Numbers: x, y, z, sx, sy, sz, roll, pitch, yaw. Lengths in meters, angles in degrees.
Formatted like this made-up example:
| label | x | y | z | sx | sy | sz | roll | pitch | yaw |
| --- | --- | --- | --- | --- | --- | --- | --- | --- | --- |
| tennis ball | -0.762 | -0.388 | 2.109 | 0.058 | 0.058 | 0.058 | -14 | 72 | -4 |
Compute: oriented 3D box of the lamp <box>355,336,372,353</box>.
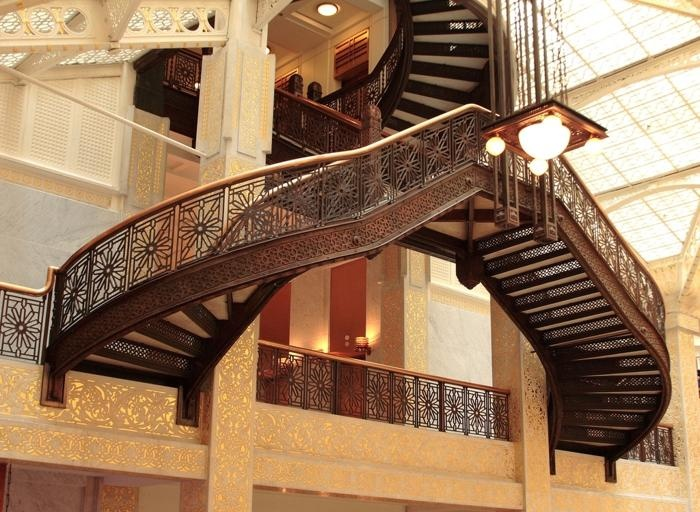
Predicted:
| label | x | y | z | sx | sy | sz | roll | pitch | yaw |
| --- | --- | --- | --- | --- | --- | --- | --- | --- | --- |
| lamp | 0.210 | 1.420 | 14.296 | 0.249 | 0.217 | 0.243 | -2 | 9 | -4 |

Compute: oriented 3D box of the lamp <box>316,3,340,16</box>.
| label | x | y | z | sx | sy | sz | roll | pitch | yaw |
| --- | --- | --- | --- | --- | --- | --- | --- | --- | --- |
| lamp | -0.391 | -4.288 | 15.484 | 0.374 | 0.108 | 0.366 | 3 | -29 | -3 |
